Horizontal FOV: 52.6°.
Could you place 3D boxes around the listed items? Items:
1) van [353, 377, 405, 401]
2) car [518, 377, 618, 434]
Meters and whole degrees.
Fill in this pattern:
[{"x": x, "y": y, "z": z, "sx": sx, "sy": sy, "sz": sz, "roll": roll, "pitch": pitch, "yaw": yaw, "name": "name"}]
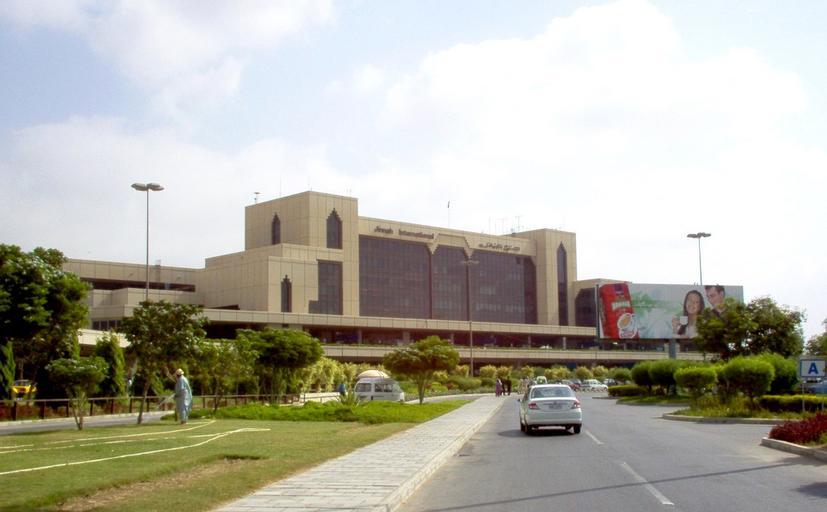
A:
[{"x": -2.491, "y": 10.020, "z": 63.887, "sx": 3.778, "sy": 2.111, "sz": 2.274, "roll": -1, "pitch": -5, "yaw": 0, "name": "van"}, {"x": 6.222, "y": 6.830, "z": 37.811, "sx": 2.630, "sy": 2.210, "sz": 2.480, "roll": -1, "pitch": -2, "yaw": 34, "name": "car"}]
